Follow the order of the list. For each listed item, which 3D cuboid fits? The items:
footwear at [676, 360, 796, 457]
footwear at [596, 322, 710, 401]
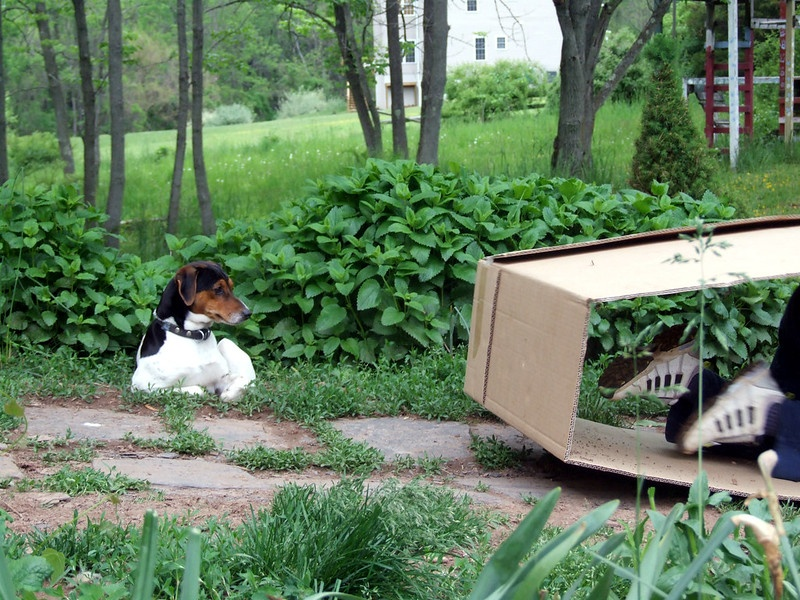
[{"bbox_3d":[2.183,0.721,6.133,0.775,0.373,0.276,-36,38,-11],"label":"footwear"},{"bbox_3d":[1.913,0.485,7.080,0.353,0.442,1.028,-10,-5,-32],"label":"footwear"}]
